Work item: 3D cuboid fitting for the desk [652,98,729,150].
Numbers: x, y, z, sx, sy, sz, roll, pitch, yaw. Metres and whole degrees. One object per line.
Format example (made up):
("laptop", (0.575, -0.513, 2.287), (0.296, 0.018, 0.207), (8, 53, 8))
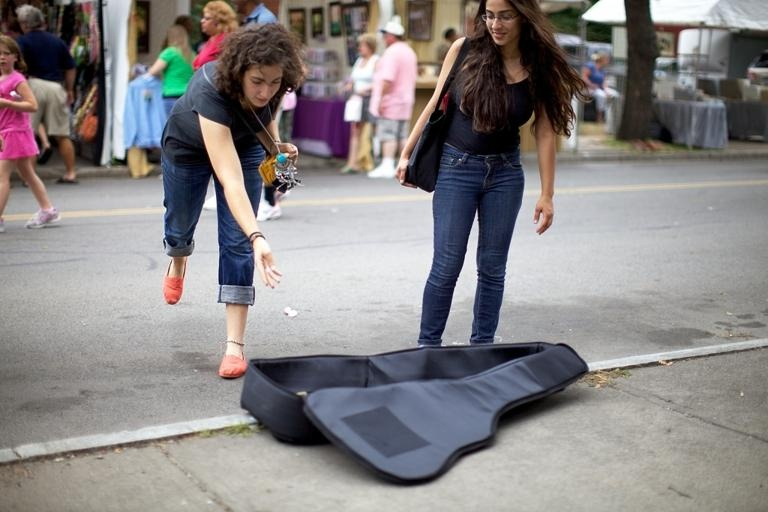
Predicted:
("desk", (2.452, -1.063, 5.406), (0.520, 0.378, 0.214), (13, 17, 43))

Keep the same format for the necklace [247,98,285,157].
("necklace", (-0.754, -0.797, 4.222), (0.177, 0.305, 0.080), (-28, 9, -32))

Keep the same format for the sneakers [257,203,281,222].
("sneakers", (-1.437, -0.537, 8.283), (0.407, 0.192, 0.146), (-4, 7, -43))

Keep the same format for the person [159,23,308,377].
("person", (-0.901, -0.317, 4.139), (0.669, 2.129, 1.525), (-7, 15, -31))

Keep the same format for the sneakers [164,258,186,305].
("sneakers", (-1.538, 0.169, 4.933), (0.158, 0.472, 0.150), (9, 28, -5))

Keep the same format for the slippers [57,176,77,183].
("slippers", (-4.571, -1.084, 9.701), (0.282, 0.084, 0.104), (5, 15, 8))

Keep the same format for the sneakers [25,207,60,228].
("sneakers", (-3.649, -0.418, 7.268), (0.139, 0.156, 0.360), (25, 35, 32))

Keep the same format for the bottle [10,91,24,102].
("bottle", (-3.786, -1.636, 6.947), (0.100, 0.086, 0.110), (16, 23, -7))

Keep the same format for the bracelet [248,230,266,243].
("bracelet", (-0.722, -0.112, 3.755), (0.075, 0.077, 0.018), (-8, 44, -5))
